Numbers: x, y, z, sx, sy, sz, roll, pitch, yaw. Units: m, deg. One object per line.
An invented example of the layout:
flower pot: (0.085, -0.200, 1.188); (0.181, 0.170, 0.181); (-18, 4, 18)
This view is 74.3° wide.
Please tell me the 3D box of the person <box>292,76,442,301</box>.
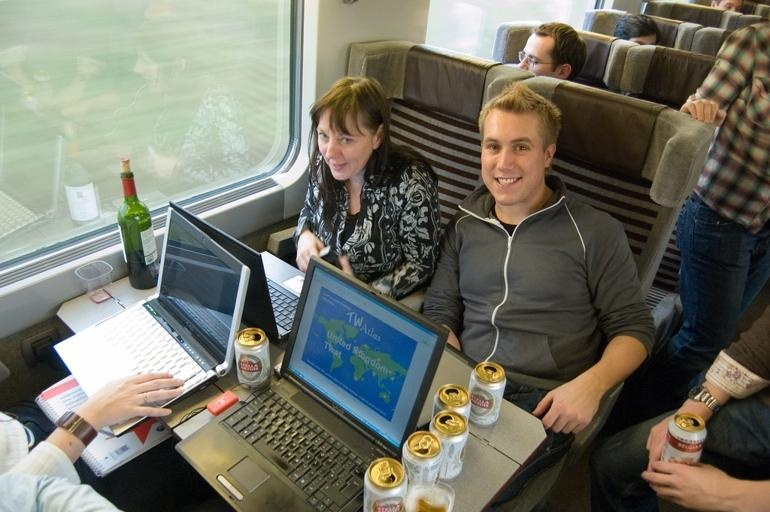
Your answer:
person: (-0.069, -0.293, 2.232); (0.672, 0.822, 0.544); (28, 49, 28)

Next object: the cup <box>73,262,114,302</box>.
cup: (-1.180, 0.107, 2.060); (0.097, 0.113, 0.083); (-30, 60, -35)

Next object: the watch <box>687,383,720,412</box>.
watch: (1.166, 0.522, 1.864); (0.094, 0.094, 0.064); (44, 83, -6)

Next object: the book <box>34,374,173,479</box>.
book: (-0.846, 0.593, 1.645); (0.339, 0.083, 0.326); (-36, 36, -30)

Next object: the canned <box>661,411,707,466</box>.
canned: (0.942, 0.592, 1.616); (0.119, 0.203, 0.078); (8, 37, 2)

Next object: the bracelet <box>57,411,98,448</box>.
bracelet: (-0.944, 0.539, 1.570); (0.084, 0.085, 0.051); (7, 56, 49)
